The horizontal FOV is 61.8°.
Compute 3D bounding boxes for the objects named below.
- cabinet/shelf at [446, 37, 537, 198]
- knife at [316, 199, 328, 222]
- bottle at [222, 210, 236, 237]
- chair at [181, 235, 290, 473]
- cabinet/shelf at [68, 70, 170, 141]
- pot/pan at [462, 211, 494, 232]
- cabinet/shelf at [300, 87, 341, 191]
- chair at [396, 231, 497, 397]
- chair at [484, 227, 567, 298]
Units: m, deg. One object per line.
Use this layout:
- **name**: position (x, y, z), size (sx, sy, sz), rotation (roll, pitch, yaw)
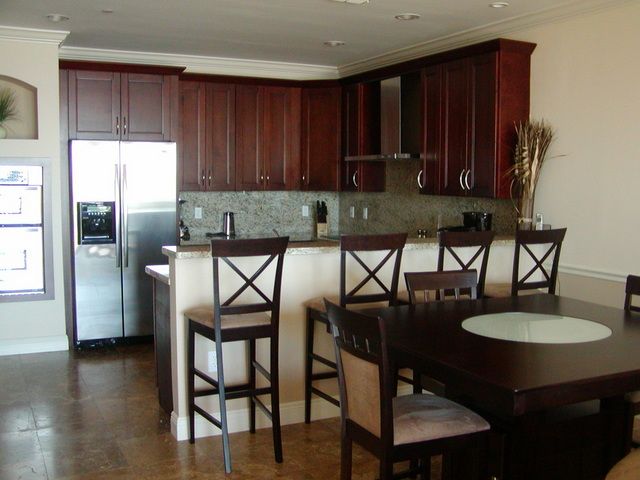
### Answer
- **cabinet/shelf**: position (1.609, -1.031, 4.623), size (0.504, 1.304, 0.244), rotation (-2, 8, -14)
- **knife**: position (0.029, -0.370, 6.917), size (0.158, 0.288, 0.104), rotation (-1, 8, -11)
- **bottle**: position (-1.106, -0.185, 6.436), size (0.141, 0.310, 0.152), rotation (0, 8, 0)
- **chair**: position (-0.538, 0.656, 3.435), size (0.627, 1.399, 0.675), rotation (-2, 8, -16)
- **cabinet/shelf**: position (-2.181, -1.534, 5.767), size (1.168, 0.763, 0.628), rotation (-5, 36, -27)
- **pot/pan**: position (1.412, -0.168, 4.722), size (0.189, 0.143, 0.191), rotation (-3, 11, -17)
- **cabinet/shelf**: position (0.009, -1.203, 6.474), size (0.461, 1.242, 0.164), rotation (2, 7, 16)
- **chair**: position (0.752, 0.553, 3.600), size (0.763, 1.227, 0.725), rotation (-4, -1, -7)
- **chair**: position (1.596, 0.182, 4.153), size (0.446, 0.758, 0.488), rotation (-3, 10, -19)
